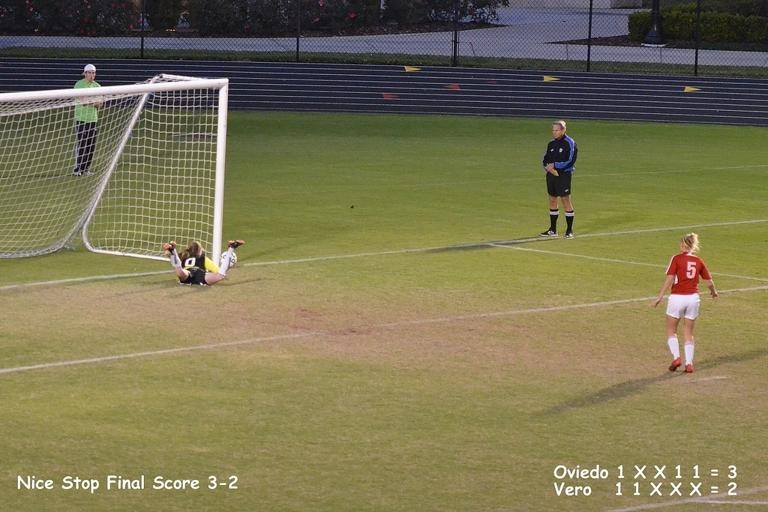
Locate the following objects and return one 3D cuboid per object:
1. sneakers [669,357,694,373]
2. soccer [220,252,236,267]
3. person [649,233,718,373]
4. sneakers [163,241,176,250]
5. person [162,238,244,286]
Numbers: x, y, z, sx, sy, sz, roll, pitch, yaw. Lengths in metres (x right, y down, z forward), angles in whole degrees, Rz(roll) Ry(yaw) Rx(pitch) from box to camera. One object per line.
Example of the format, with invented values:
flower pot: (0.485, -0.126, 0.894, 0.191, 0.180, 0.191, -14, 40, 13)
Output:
sneakers: (4.197, 1.498, 16.288, 0.373, 0.222, 0.235, 0, 17, 3)
soccer: (-2.614, 0.046, 19.604, 0.182, 0.205, 0.214, 34, 6, 34)
person: (4.248, 0.636, 16.373, 0.718, 1.841, 0.996, 5, 20, 16)
sneakers: (-3.638, -0.188, 19.794, 0.171, 0.073, 0.227, -2, 8, 43)
person: (-2.984, 0.096, 19.527, 0.953, 0.384, 1.125, 1, 7, 5)
